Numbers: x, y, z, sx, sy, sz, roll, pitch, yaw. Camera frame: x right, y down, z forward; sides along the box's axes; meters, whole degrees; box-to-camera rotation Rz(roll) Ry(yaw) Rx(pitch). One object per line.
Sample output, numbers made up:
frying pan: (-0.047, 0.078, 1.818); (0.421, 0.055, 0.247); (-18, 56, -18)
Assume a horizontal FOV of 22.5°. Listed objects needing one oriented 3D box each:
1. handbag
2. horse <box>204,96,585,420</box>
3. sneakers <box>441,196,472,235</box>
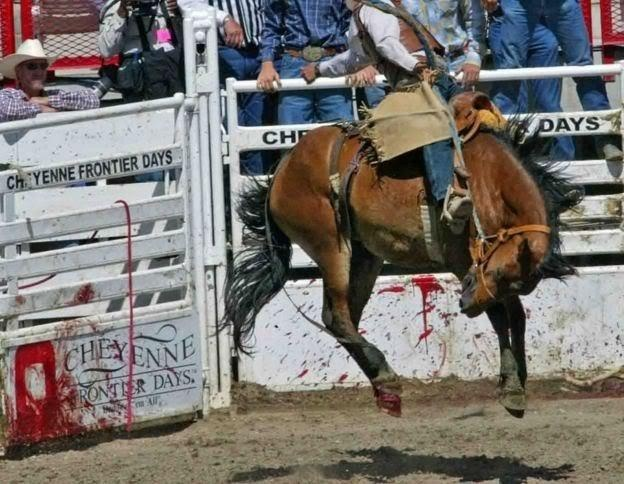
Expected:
handbag: (-1.453, -1.498, 13.992); (0.531, 0.445, 0.425); (-10, 5, 17)
horse: (0.747, 0.131, 12.078); (0.937, 2.499, 3.793); (16, -14, -42)
sneakers: (1.105, -0.219, 11.582); (0.083, 0.101, 0.254); (4, 55, 29)
